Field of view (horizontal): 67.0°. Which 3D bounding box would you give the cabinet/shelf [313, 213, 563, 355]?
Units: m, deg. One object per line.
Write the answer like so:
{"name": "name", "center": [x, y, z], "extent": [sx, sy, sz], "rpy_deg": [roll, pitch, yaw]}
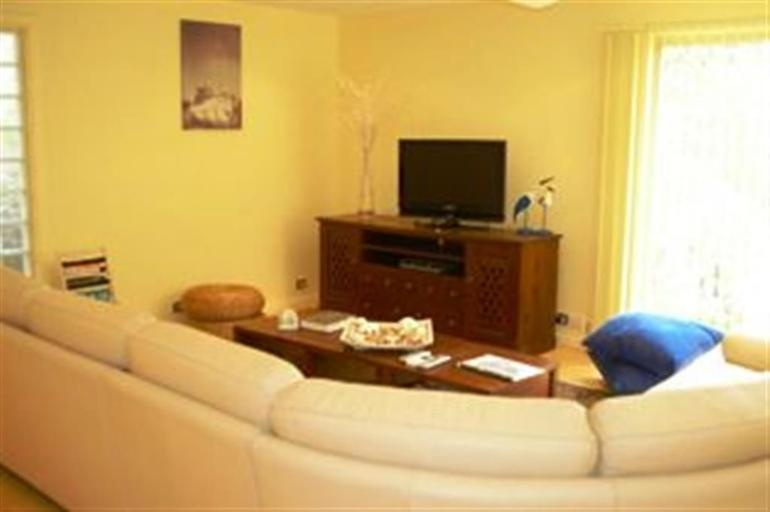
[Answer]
{"name": "cabinet/shelf", "center": [0.312, 0.141, 4.260], "extent": [1.704, 0.760, 0.525], "rpy_deg": [9, 14, 38]}

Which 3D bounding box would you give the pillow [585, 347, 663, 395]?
{"name": "pillow", "center": [1.149, 0.530, 2.851], "extent": [0.113, 0.308, 0.320], "rpy_deg": [44, -24, -30]}

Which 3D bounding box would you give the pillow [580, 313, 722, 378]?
{"name": "pillow", "center": [1.374, 0.395, 2.944], "extent": [0.584, 0.232, 0.574], "rpy_deg": [-14, 9, -24]}

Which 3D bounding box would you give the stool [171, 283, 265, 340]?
{"name": "stool", "center": [-1.148, 0.318, 4.121], "extent": [0.569, 0.190, 0.557], "rpy_deg": [5, 12, 27]}

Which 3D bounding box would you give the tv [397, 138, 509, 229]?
{"name": "tv", "center": [0.486, -0.545, 4.235], "extent": [0.974, 0.590, 0.093], "rpy_deg": [7, 15, 42]}
